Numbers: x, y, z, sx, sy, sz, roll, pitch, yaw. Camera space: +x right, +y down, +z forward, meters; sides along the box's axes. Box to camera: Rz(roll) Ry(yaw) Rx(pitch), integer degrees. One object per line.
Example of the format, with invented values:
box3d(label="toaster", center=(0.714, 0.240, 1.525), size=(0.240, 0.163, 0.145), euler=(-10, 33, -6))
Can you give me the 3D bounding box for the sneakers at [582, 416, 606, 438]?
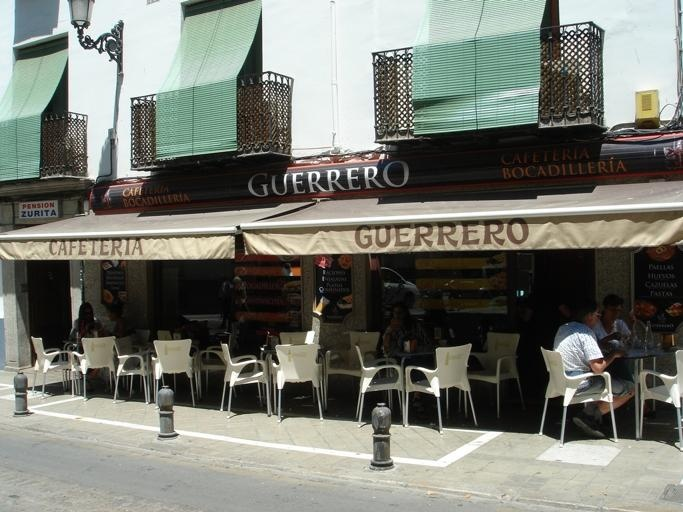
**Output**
box3d(label="sneakers", center=(3.815, 2.635, 12.874), size=(0.515, 0.221, 0.195), euler=(27, -13, -34))
